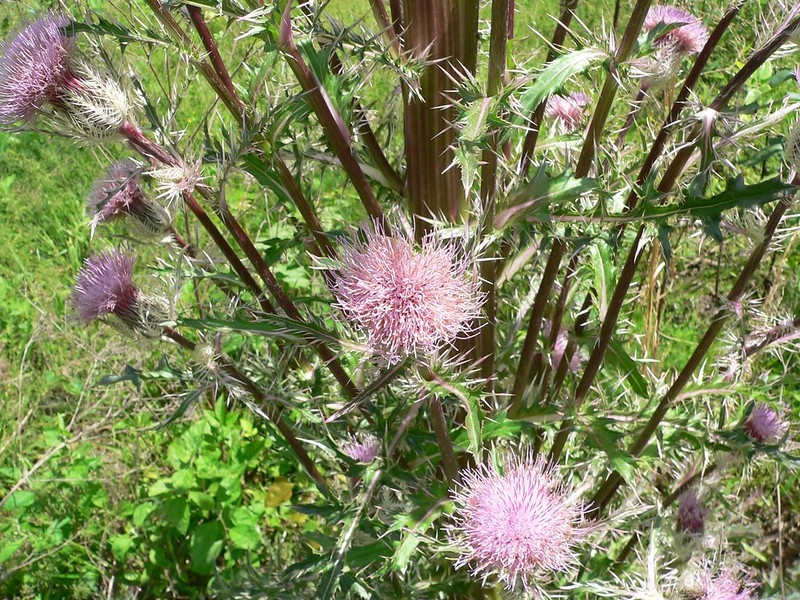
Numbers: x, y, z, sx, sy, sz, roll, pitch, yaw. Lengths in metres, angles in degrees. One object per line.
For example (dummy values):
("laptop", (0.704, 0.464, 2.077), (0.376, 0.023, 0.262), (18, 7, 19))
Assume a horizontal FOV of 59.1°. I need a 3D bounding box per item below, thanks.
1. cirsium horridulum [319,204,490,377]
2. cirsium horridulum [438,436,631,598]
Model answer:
("cirsium horridulum", (0.017, 0.005, 2.043), (0.410, 0.415, 0.283), (41, 82, 10))
("cirsium horridulum", (0.422, 0.702, 2.272), (0.466, 0.350, 0.511), (-20, 72, 4))
